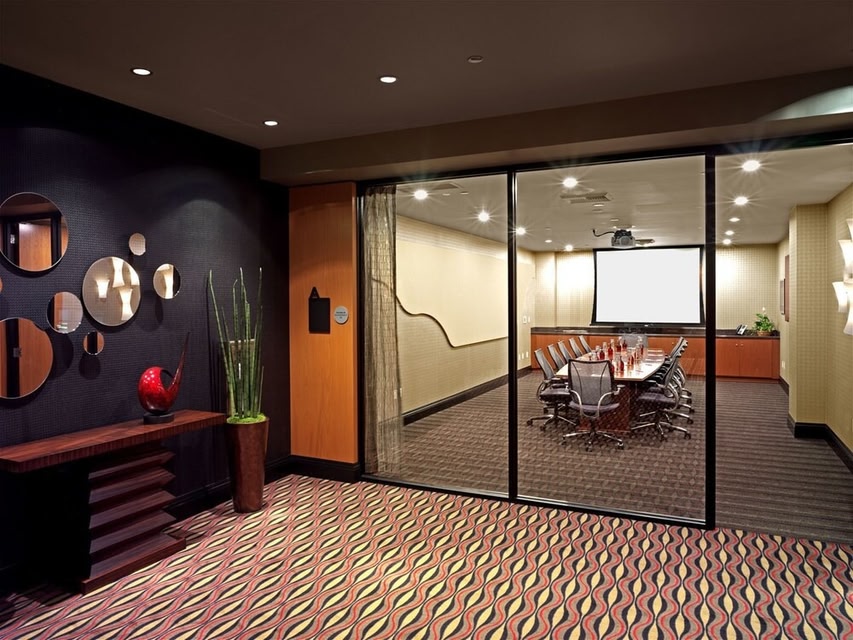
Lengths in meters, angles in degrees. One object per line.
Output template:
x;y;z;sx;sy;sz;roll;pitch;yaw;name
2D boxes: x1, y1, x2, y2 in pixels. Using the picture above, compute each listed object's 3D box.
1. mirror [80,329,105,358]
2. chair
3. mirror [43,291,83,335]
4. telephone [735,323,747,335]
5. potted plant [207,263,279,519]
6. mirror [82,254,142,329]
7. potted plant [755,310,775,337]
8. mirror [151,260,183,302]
-2.080;0.145;3.456;0.022;0.198;0.159;-1;-2;33;mirror
1.487;0.572;4.595;0.839;0.488;1.155;1;6;23;chair
-2.170;-0.039;3.303;0.035;0.305;0.245;0;1;29;mirror
2.076;0.057;3.677;0.064;0.072;0.016;8;4;20;telephone
-1.415;0.499;4.240;0.386;1.712;0.692;-4;10;-18;potted plant
-2.014;-0.172;3.567;0.067;0.452;0.383;3;11;23;mirror
2.206;0.023;3.642;0.147;0.164;0.131;-1;2;-37;potted plant
-1.816;-0.263;3.862;0.035;0.313;0.258;-2;0;37;mirror
